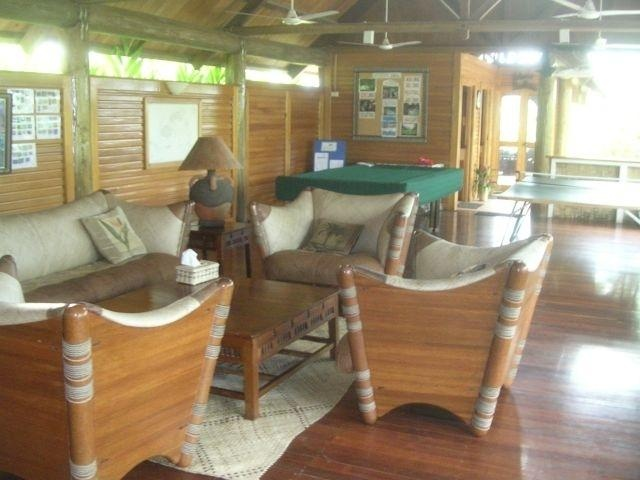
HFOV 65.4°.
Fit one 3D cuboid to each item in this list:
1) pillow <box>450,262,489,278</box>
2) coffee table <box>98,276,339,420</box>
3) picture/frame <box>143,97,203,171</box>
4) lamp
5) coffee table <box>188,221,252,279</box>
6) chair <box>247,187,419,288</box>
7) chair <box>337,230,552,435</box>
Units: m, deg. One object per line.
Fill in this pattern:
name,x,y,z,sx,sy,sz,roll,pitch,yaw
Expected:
pillow,0.790,0.150,2.611,0.112,0.038,0.099,-29,14,-33
coffee table,-0.317,0.469,3.110,1.060,0.371,0.989,4,8,24
picture/frame,-1.790,-1.335,6.282,0.092,0.978,1.336,7,14,30
lamp,-1.028,-0.586,4.912,0.456,0.864,0.451,-9,16,-31
coffee table,-0.875,0.079,4.669,0.497,0.510,0.612,4,10,25
chair,0.103,-0.039,4.407,1.246,1.097,0.984,4,4,19
chair,0.681,0.300,3.050,1.199,1.004,1.351,3,7,21
